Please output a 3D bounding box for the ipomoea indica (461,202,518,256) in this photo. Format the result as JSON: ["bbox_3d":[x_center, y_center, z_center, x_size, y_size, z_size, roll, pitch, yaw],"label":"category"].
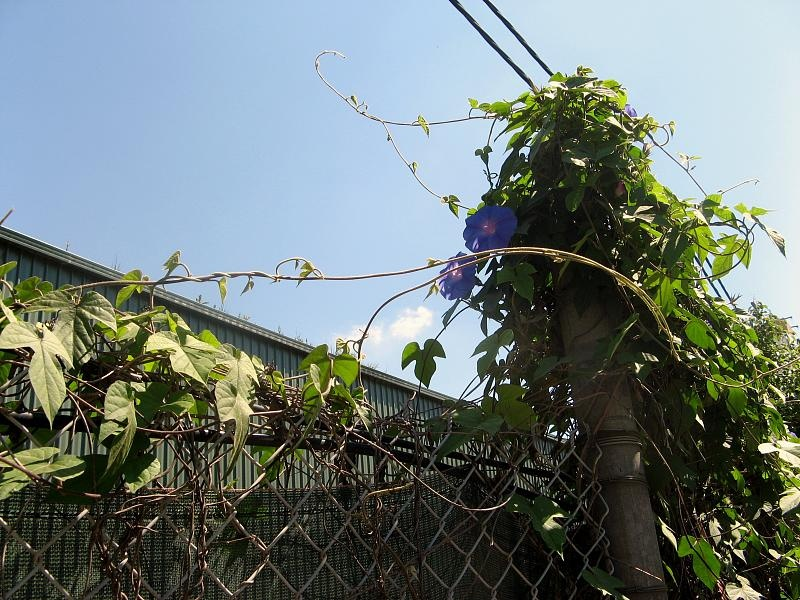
[{"bbox_3d":[0.266,-0.227,1.832,0.200,0.061,0.192,14,-16,-23],"label":"ipomoea indica"}]
